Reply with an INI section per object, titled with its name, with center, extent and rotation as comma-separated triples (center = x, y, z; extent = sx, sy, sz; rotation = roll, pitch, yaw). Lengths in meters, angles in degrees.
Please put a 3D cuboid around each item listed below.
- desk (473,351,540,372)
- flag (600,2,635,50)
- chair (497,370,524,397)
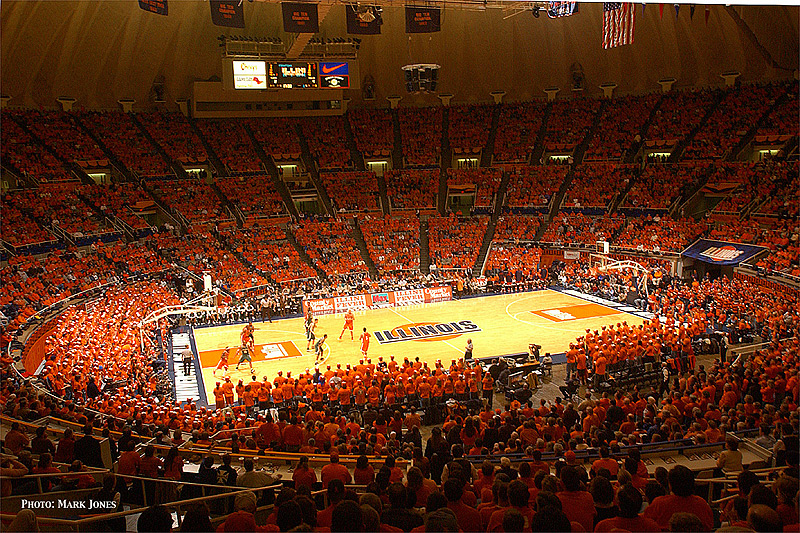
[desk]
center = 4.343, 3.805, 21.421
extent = 1.804, 0.611, 0.689
rotation = 2, -17, -10
[flag]
center = 10.055, -11.308, 24.848
extent = 1.096, 2.045, 2.005
rotation = 2, 12, -13
[chair]
center = 4.117, 4.323, 19.761
extent = 0.908, 0.869, 0.600
rotation = 0, -9, 6
